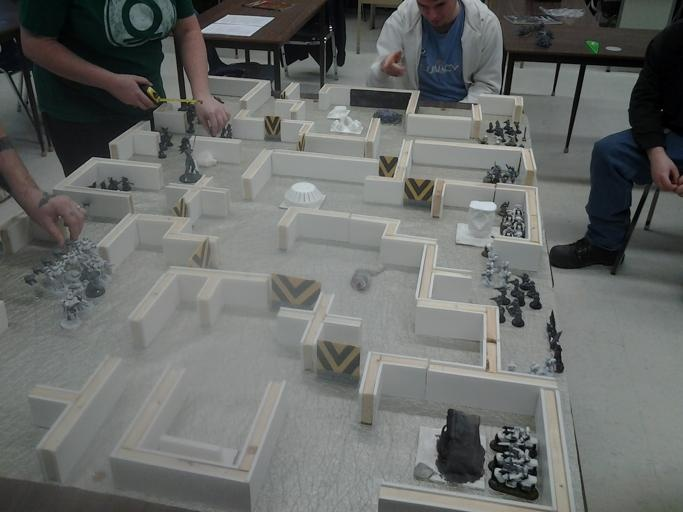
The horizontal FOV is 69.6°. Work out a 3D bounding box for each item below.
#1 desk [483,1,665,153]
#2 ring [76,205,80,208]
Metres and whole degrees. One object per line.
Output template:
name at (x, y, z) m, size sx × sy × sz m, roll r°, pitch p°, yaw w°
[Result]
desk at (2.221, -1.637, 5.014) m, size 1.305 × 0.877 × 1.479 m, roll 13°, pitch 47°, yaw 13°
ring at (-1.113, -0.208, 2.066) m, size 0.021 × 0.006 × 0.024 m, roll -7°, pitch 30°, yaw -26°
